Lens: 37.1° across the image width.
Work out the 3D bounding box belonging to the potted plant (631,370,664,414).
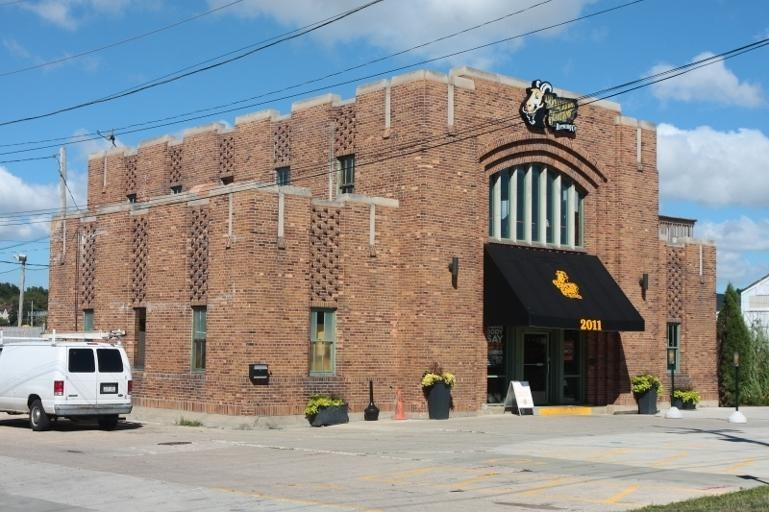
[{"bbox_3d":[11.611,5.930,49.654,1.596,1.940,1.753,3,-6,-24],"label":"potted plant"}]

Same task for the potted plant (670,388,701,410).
[{"bbox_3d":[13.589,6.477,51.715,1.180,0.758,1.071,10,-14,-44],"label":"potted plant"}]

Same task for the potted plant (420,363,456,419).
[{"bbox_3d":[2.041,5.217,44.438,1.206,2.119,0.655,1,3,-4],"label":"potted plant"}]
